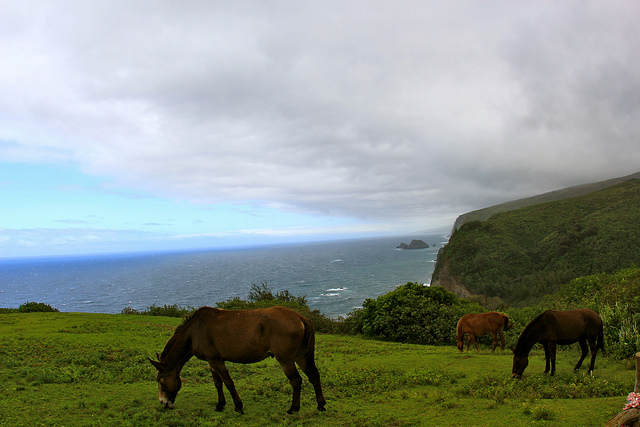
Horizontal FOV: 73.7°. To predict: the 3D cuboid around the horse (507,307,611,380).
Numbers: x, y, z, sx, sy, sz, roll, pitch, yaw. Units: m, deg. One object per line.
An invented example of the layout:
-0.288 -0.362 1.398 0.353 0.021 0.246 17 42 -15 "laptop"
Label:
13.322 7.218 23.998 6.418 3.644 1.546 -3 -2 -11 "horse"
